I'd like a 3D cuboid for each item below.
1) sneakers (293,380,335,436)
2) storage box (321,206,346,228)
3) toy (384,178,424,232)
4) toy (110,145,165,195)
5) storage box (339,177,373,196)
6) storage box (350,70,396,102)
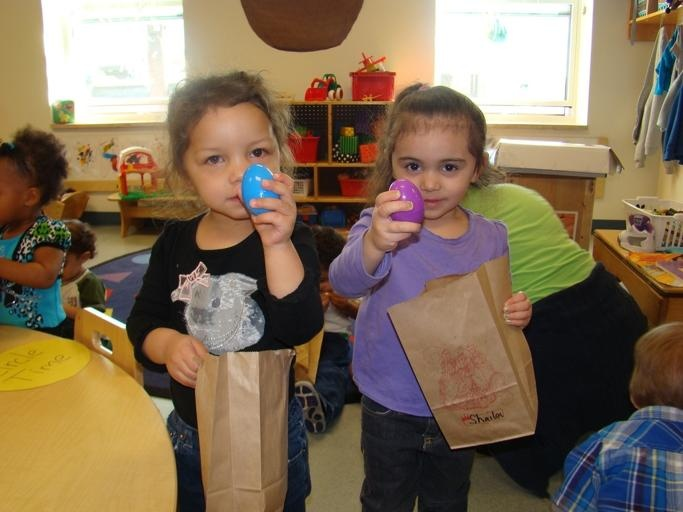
[{"bbox_3d":[-0.118,0.603,2.157,0.107,0.246,0.098,-13,15,-4],"label":"sneakers"},{"bbox_3d":[-0.075,-0.343,4.841,0.209,0.167,0.214,1,6,-6],"label":"storage box"},{"bbox_3d":[0.146,-0.118,1.214,0.073,0.094,0.106,2,16,8],"label":"toy"},{"bbox_3d":[-1.936,-0.806,5.156,0.383,0.471,0.333,-4,2,-28],"label":"toy"},{"bbox_3d":[0.106,-0.612,4.604,0.315,0.249,0.467,1,8,0],"label":"storage box"},{"bbox_3d":[0.279,-1.416,4.598,0.331,0.215,0.257,-1,4,-7],"label":"storage box"}]
